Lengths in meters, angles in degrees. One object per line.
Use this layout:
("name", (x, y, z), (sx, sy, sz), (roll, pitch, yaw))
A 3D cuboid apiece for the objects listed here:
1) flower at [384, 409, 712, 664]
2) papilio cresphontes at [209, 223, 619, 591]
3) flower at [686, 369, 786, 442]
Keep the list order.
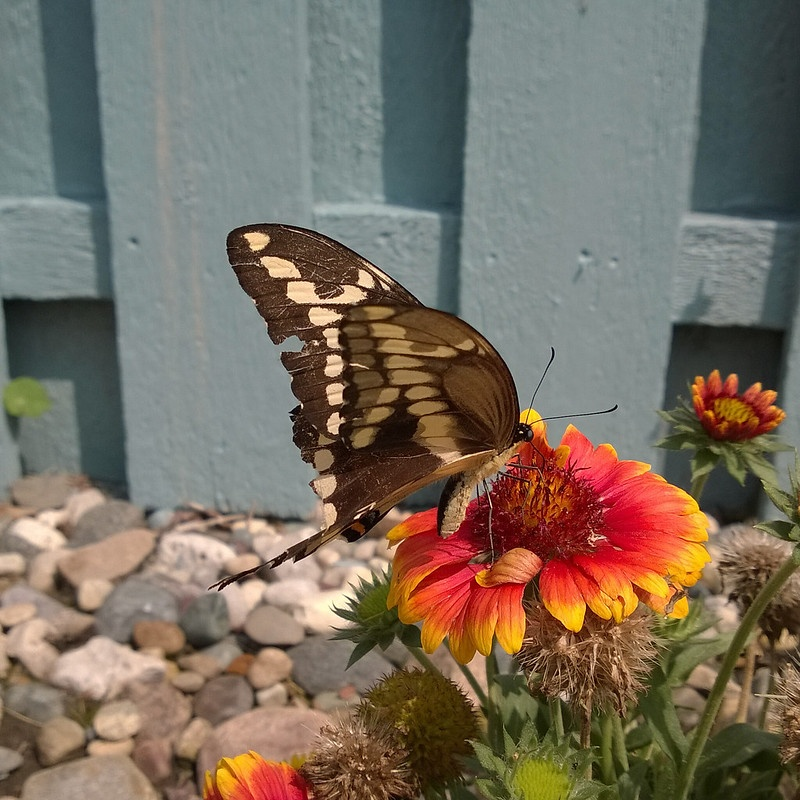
("flower", (0.291, 0.284, 1.953), (0.621, 0.401, 0.518), (1, 8, -7))
("papilio cresphontes", (-0.036, -0.027, 2.322), (0.931, 0.712, 0.856), (-4, 0, -1))
("flower", (0.848, 0.012, 2.383), (0.219, 0.161, 0.258), (4, 8, 12))
